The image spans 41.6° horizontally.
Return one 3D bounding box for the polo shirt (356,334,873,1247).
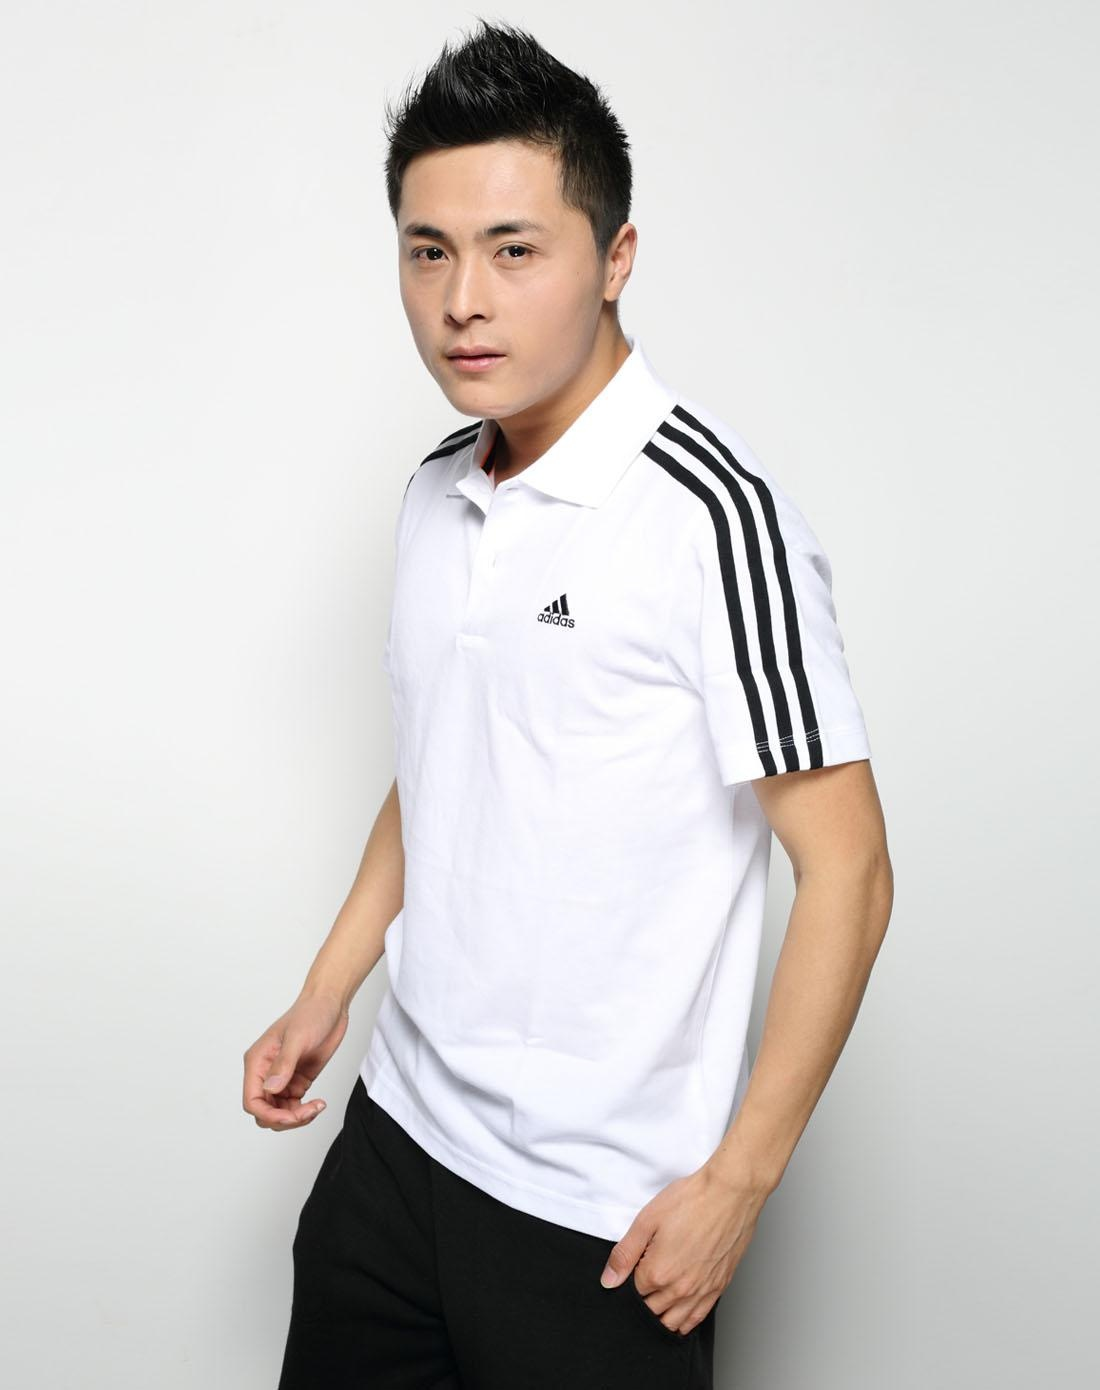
[{"bbox_3d":[0.022,0.073,1.229,0.468,0.727,0.191,3,8,39],"label":"polo shirt"}]
